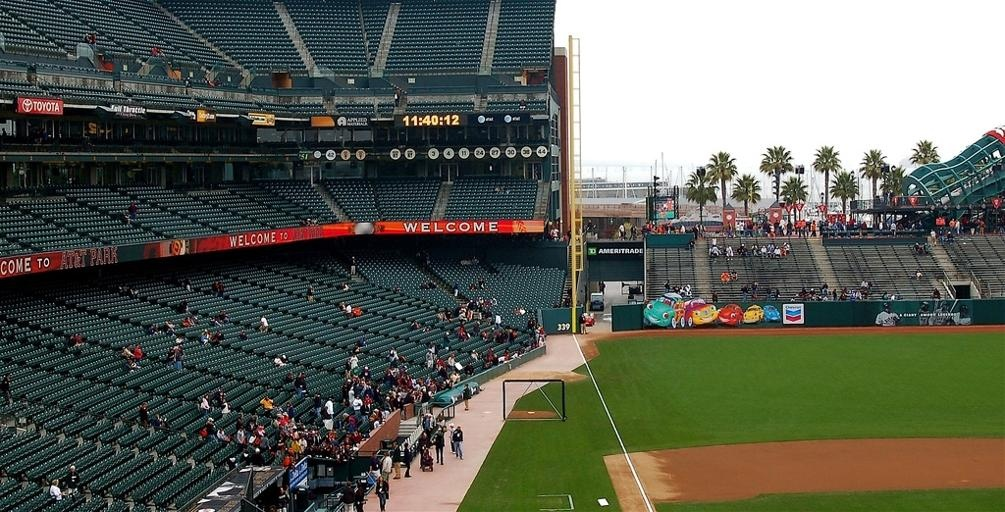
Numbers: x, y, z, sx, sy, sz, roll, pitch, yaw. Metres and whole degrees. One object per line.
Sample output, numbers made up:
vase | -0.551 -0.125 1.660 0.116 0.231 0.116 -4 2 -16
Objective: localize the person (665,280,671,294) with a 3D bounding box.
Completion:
person | 16.790 2.986 127.292 0.777 1.168 1.414 -3 -4 5

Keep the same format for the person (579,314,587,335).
person | 8.067 6.595 123.137 0.618 1.943 1.630 -5 -5 25

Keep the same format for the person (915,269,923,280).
person | 41.858 1.774 126.292 0.691 0.947 0.959 -4 -5 16

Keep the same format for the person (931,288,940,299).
person | 42.993 3.723 124.325 0.917 1.175 0.739 0 4 -26

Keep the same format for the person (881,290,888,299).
person | 37.947 3.814 124.351 0.528 0.684 0.258 1 -20 16

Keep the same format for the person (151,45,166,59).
person | -33.152 -19.785 121.228 1.562 0.758 1.869 1 6 1

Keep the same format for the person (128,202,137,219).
person | -32.044 -4.009 109.213 0.833 1.597 1.322 -1 -5 -17

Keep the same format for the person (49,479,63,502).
person | -31.164 16.320 87.956 0.909 1.479 0.886 -1 -5 -20
